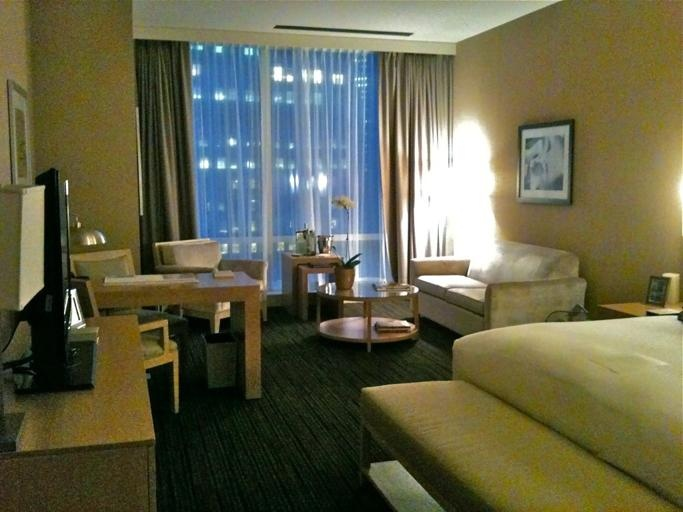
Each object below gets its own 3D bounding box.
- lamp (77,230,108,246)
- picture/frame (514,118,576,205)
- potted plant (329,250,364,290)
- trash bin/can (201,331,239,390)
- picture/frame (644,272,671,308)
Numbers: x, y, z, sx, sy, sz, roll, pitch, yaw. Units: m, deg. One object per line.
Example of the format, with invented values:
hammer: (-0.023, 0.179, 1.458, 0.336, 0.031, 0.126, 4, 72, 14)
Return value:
lamp: (-1.664, -0.118, 3.546, 0.106, 0.068, 0.112, -1, -3, -7)
picture/frame: (1.973, -0.911, 5.099, 0.070, 1.078, 0.859, 0, 1, -28)
potted plant: (0.047, 0.140, 4.957, 0.309, 0.267, 0.319, 1, -3, -17)
trash bin/can: (-0.805, 0.725, 3.706, 0.300, 0.479, 0.317, -1, 9, -12)
picture/frame: (2.359, 0.252, 3.958, 0.037, 0.299, 0.229, 10, -2, -20)
